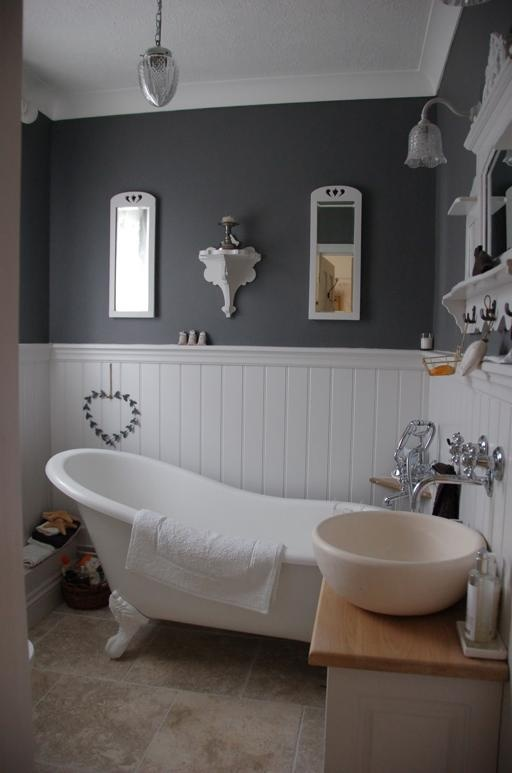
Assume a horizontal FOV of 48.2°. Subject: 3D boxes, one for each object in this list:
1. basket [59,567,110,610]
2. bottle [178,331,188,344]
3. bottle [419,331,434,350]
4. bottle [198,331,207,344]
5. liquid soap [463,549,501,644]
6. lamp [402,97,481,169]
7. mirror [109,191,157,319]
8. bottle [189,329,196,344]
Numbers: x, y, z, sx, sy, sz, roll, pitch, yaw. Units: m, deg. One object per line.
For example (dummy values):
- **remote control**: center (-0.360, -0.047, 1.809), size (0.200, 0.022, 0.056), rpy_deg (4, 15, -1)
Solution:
- **basket**: center (-0.794, 0.918, 2.641), size (0.166, 0.137, 0.150), rpy_deg (1, 4, -11)
- **bottle**: center (-0.363, -0.246, 2.890), size (0.055, 0.091, 0.052), rpy_deg (1, 5, 0)
- **bottle**: center (0.774, -0.202, 2.607), size (0.061, 0.108, 0.068), rpy_deg (-3, 5, -26)
- **bottle**: center (-0.268, -0.237, 2.867), size (0.051, 0.072, 0.050), rpy_deg (0, 4, 0)
- **liquid soap**: center (0.422, 0.387, 1.062), size (0.057, 0.163, 0.077), rpy_deg (2, 4, 22)
- **lamp**: center (0.599, -0.819, 1.836), size (0.216, 0.258, 0.140), rpy_deg (2, -5, 11)
- **mirror**: center (-0.644, -0.673, 2.976), size (0.243, 0.664, 0.030), rpy_deg (-6, 32, -23)
- **bottle**: center (-0.320, -0.240, 2.880), size (0.042, 0.076, 0.054), rpy_deg (0, 4, -6)
